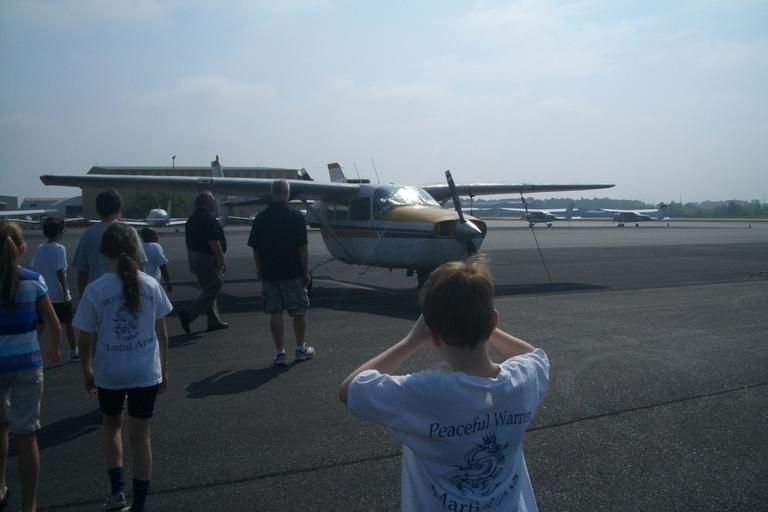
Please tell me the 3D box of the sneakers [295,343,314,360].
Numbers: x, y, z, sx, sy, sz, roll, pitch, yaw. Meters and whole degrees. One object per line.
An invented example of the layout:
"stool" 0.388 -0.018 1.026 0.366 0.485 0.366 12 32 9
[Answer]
"sneakers" -0.986 1.200 6.673 0.127 0.131 0.296 1 4 18

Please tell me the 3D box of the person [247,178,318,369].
"person" -1.263 0.172 6.616 0.679 2.237 0.800 -8 12 -36

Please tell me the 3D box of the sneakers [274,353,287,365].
"sneakers" -1.274 1.233 6.429 0.175 0.174 0.225 -3 9 -12

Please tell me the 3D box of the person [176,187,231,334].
"person" -2.712 0.118 7.819 0.721 2.119 0.920 -5 10 -21
